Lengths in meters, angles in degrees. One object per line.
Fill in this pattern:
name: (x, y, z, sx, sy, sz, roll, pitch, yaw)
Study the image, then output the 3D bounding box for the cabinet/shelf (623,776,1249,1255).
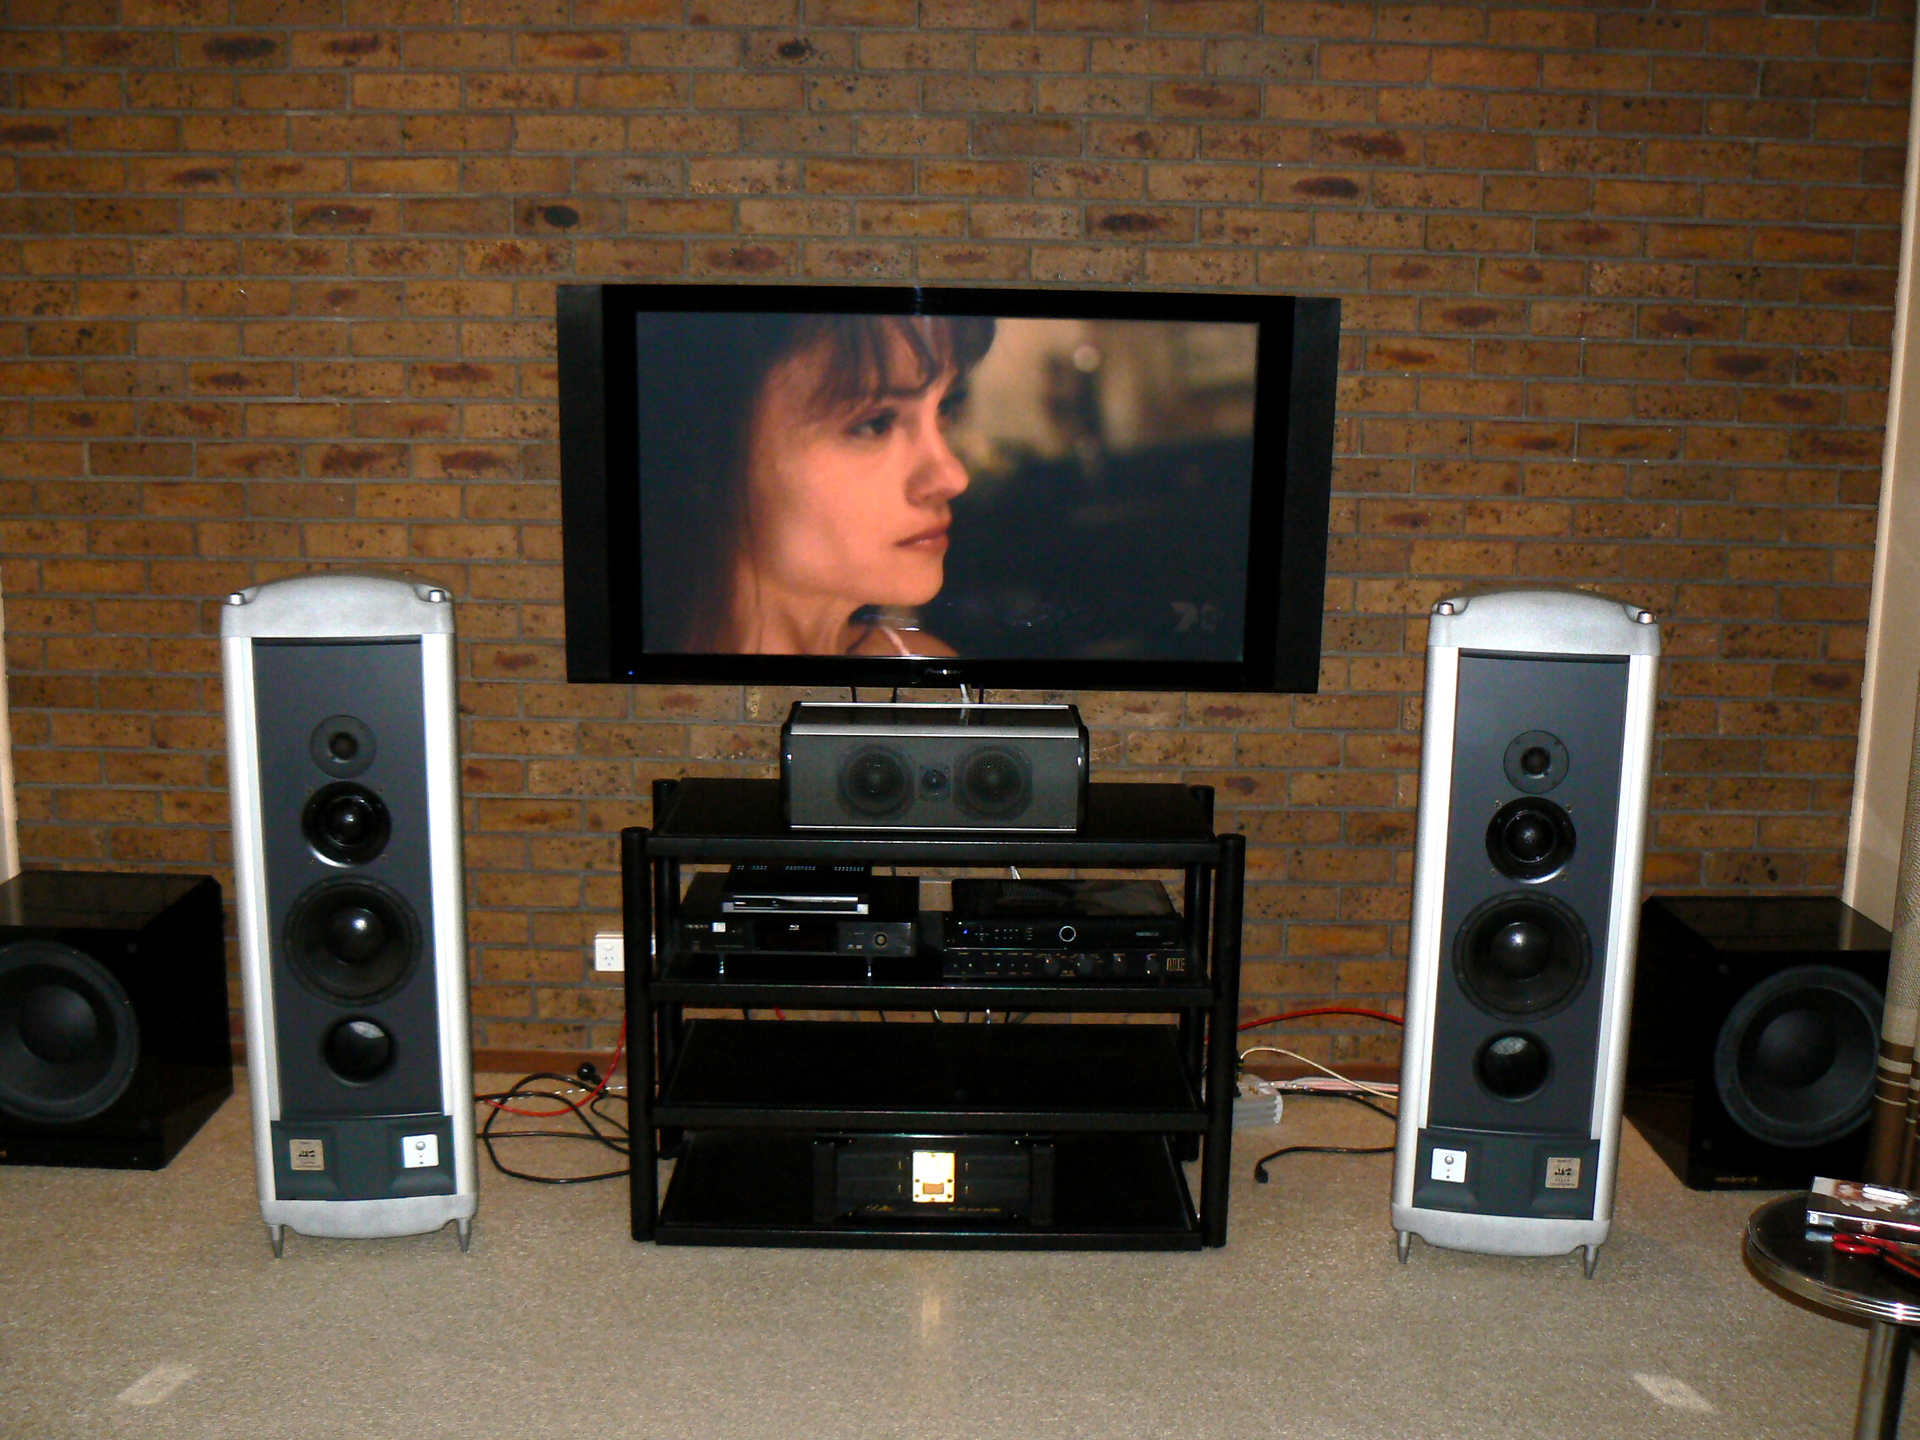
cabinet/shelf: (-0.053, 0.676, 4.399, 1.317, 0.674, 0.577, 1, 9, 0)

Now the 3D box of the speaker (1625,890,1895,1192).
speaker: (1.701, 0.690, 4.528, 0.675, 0.716, 0.618, 0, 13, 3)
